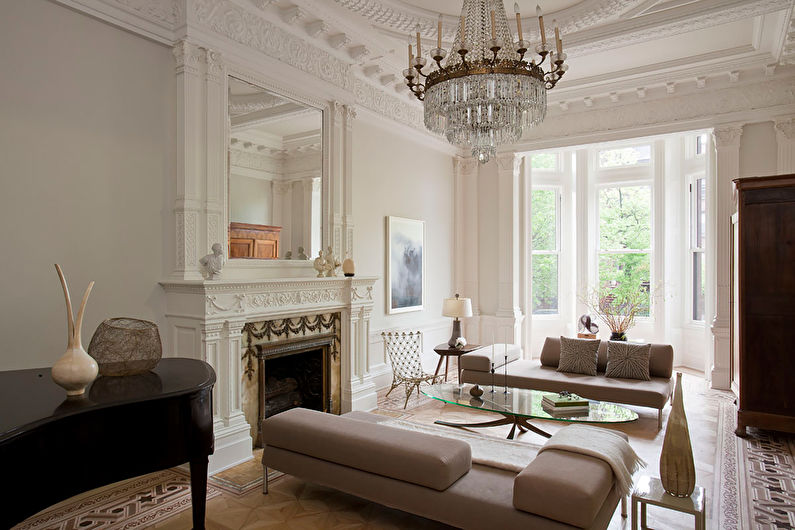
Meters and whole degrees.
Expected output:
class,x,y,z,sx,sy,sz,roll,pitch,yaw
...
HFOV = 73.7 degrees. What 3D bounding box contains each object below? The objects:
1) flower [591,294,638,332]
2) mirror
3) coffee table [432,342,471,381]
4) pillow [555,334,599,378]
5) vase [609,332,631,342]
class,x,y,z,sx,sy,sz,roll,pitch,yaw
flower,4.491,1.060,10.990,0.821,0.810,0.936,0,-1,22
mirror,-1.665,-1.275,7.221,0.101,2.293,1.397,0,2,42
coffee table,0.882,1.700,8.999,0.690,0.670,0.700,0,0,11
pillow,2.781,1.429,8.243,0.476,0.464,0.188,-5,-35,29
vase,4.190,1.339,9.991,0.352,0.181,0.356,1,-2,6
